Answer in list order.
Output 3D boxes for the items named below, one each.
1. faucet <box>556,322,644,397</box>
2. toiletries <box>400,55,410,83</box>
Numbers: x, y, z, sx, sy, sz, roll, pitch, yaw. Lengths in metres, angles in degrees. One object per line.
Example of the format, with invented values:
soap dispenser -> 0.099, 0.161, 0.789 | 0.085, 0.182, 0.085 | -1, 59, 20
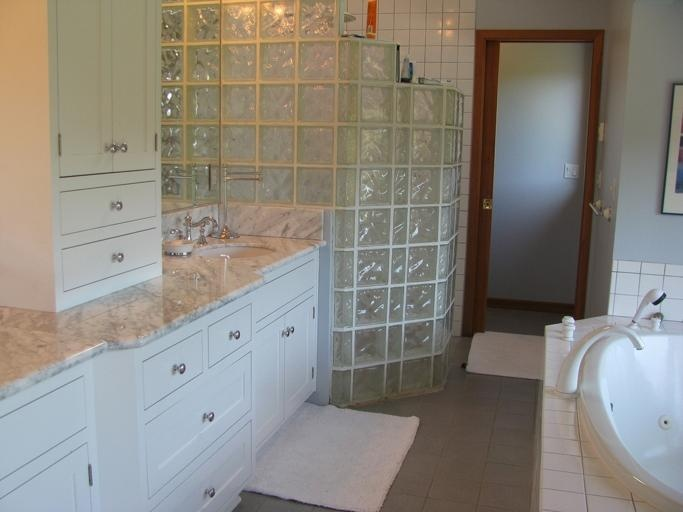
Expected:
faucet -> 1.099, 0.435, 2.229 | 0.302, 0.294, 0.194 | 7, 14, 21
toiletries -> 0.407, -1.167, 3.253 | 0.059, 0.168, 0.168 | 3, 13, 5
